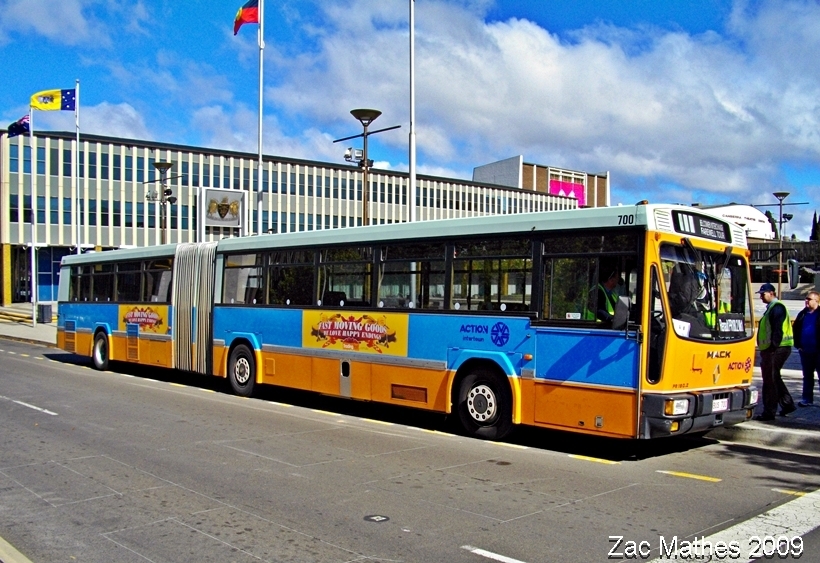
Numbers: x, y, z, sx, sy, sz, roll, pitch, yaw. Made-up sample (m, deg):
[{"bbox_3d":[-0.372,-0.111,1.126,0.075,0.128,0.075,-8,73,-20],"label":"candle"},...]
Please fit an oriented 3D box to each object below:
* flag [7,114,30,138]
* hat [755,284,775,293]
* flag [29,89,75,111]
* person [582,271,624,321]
[{"bbox_3d":[-21.771,-8.764,41.862,0.922,1.005,2.178,-2,5,-33],"label":"flag"},{"bbox_3d":[6.950,0.131,14.742,0.353,0.232,0.267,3,5,44],"label":"hat"},{"bbox_3d":[-19.512,-9.961,41.018,2.201,1.312,1.683,-2,5,-26],"label":"flag"},{"bbox_3d":[3.056,0.266,12.058,0.536,0.806,0.148,3,5,33],"label":"person"}]
